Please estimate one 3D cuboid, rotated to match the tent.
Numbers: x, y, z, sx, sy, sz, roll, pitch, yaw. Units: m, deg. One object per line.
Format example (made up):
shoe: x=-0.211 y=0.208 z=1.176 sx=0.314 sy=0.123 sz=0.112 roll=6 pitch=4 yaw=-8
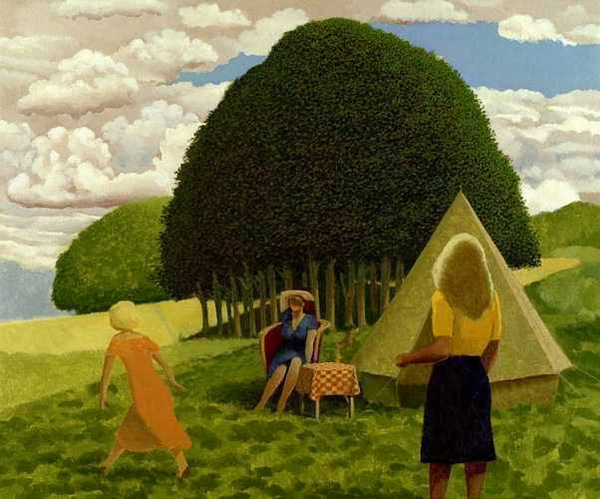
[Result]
tent: x=2.655 y=0.880 z=14.716 sx=3.669 sy=3.562 sz=3.708 roll=1 pitch=-3 yaw=-19
